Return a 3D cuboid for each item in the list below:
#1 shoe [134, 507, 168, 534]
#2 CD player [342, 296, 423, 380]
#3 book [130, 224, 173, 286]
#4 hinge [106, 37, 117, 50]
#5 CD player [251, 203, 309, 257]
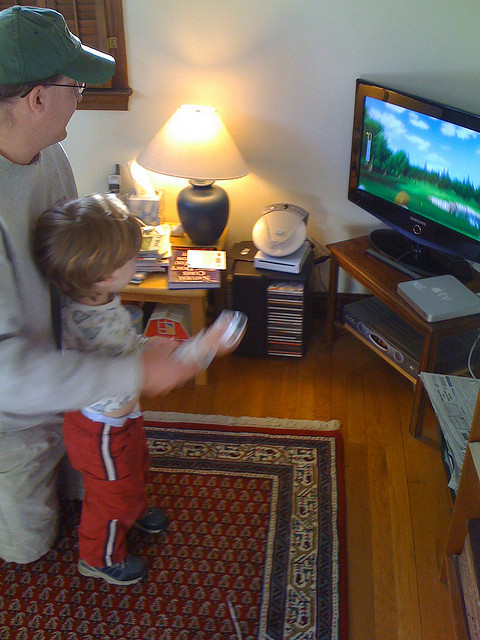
[{"bbox_3d":[-0.258,0.604,1.471,0.110,0.047,0.052,1,24,4],"label":"shoe"},{"bbox_3d":[0.573,0.100,1.960,0.235,0.086,0.362,-16,48,-29],"label":"CD player"},{"bbox_3d":[-0.360,-0.313,2.026,0.210,0.086,0.282,0,40,1],"label":"book"},{"bbox_3d":[-0.525,-1.130,1.988,0.039,0.040,0.013,-8,29,-13],"label":"hinge"},{"bbox_3d":[0.176,-0.384,2.089,0.220,0.172,0.222,10,31,19],"label":"CD player"}]
